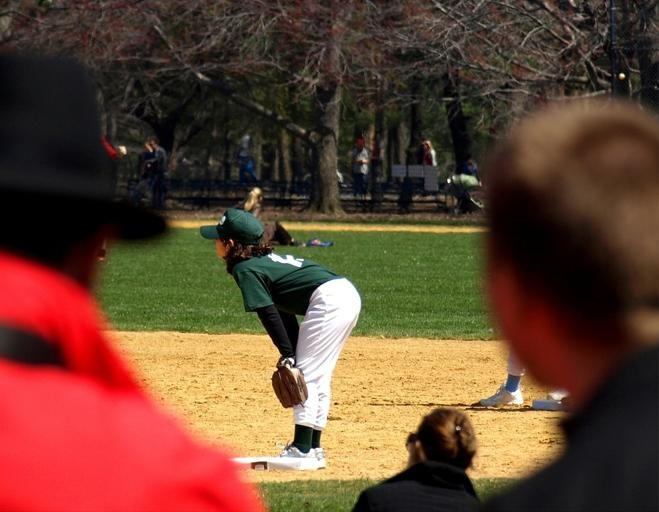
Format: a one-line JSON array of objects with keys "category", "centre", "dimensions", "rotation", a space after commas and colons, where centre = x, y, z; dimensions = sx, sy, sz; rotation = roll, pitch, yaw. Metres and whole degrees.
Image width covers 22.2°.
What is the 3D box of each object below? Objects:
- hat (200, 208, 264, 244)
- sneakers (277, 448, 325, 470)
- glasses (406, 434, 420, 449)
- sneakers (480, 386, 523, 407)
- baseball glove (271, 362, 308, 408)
[{"category": "hat", "centre": [-1.119, -0.322, 19.584], "dimensions": [0.614, 0.373, 0.408], "rotation": [12, 14, 2]}, {"category": "sneakers", "centre": [-0.340, 2.366, 19.833], "dimensions": [0.565, 0.287, 0.219], "rotation": [4, -4, -5]}, {"category": "glasses", "centre": [0.869, 1.931, 17.817], "dimensions": [0.105, 0.144, 0.153], "rotation": [11, -29, 8]}, {"category": "sneakers", "centre": [2.173, 1.769, 21.437], "dimensions": [0.528, 0.267, 0.237], "rotation": [0, 3, -9]}, {"category": "baseball glove", "centre": [-0.452, 1.485, 19.496], "dimensions": [0.317, 0.515, 0.373], "rotation": [1, 25, 39]}]
